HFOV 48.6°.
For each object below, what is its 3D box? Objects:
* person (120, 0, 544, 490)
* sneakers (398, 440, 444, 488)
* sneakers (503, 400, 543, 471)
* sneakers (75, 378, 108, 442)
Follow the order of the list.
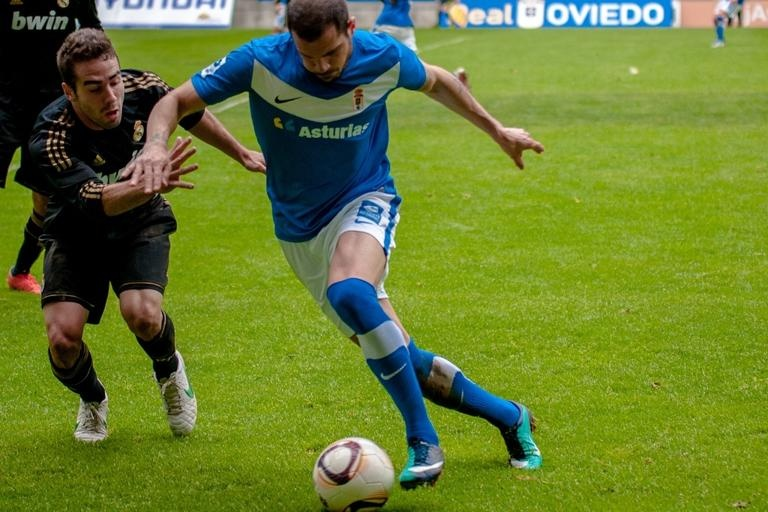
[{"bbox_3d":[-0.287,-0.172,4.393,1.599,2.216,0.996,7,17,15],"label":"person"},{"bbox_3d":[0.183,1.007,4.111,0.194,0.225,0.186,4,16,7],"label":"sneakers"},{"bbox_3d":[0.718,0.933,4.430,0.147,0.405,0.179,-14,5,39],"label":"sneakers"},{"bbox_3d":[-1.631,0.868,4.730,0.144,0.159,0.378,2,23,-15],"label":"sneakers"}]
